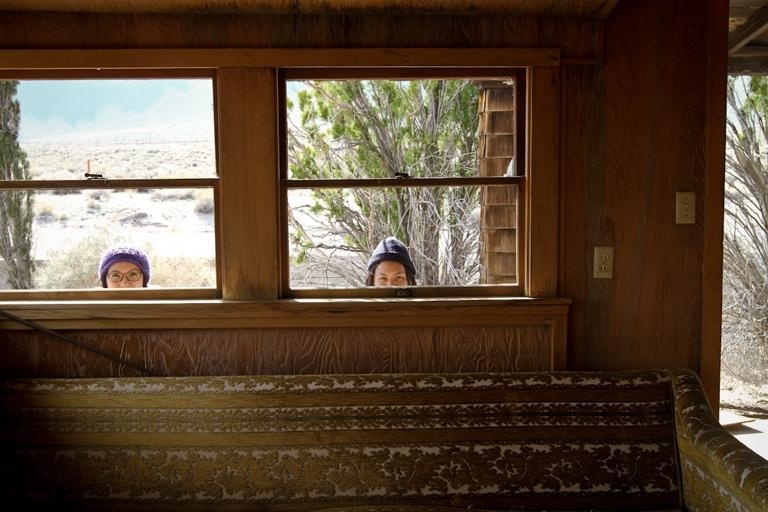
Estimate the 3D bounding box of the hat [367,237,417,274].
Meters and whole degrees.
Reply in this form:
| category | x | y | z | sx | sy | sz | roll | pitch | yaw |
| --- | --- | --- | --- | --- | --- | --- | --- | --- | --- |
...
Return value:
| category | x | y | z | sx | sy | sz | roll | pitch | yaw |
| --- | --- | --- | --- | --- | --- | --- | --- | --- | --- |
| hat | 0.035 | -0.007 | 3.715 | 0.177 | 0.149 | 0.240 | 1 | -12 | 0 |

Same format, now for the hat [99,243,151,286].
| category | x | y | z | sx | sy | sz | roll | pitch | yaw |
| --- | --- | --- | --- | --- | --- | --- | --- | --- | --- |
| hat | -1.396 | -0.002 | 3.881 | 0.191 | 0.130 | 0.241 | -1 | 12 | 29 |
